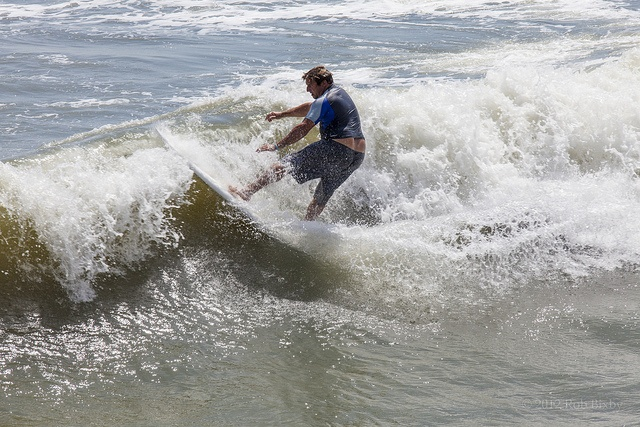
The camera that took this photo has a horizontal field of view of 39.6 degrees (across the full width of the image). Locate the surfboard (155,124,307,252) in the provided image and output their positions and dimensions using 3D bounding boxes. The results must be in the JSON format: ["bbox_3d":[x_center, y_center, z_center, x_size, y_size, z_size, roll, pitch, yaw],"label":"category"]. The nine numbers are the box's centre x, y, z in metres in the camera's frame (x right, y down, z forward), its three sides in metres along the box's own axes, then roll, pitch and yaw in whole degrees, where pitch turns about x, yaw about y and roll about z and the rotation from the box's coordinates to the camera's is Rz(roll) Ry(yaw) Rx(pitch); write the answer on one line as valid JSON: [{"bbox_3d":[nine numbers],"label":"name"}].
[{"bbox_3d":[-1.331,-0.313,12.887,3.314,0.340,0.257,31,80,-4],"label":"surfboard"}]
